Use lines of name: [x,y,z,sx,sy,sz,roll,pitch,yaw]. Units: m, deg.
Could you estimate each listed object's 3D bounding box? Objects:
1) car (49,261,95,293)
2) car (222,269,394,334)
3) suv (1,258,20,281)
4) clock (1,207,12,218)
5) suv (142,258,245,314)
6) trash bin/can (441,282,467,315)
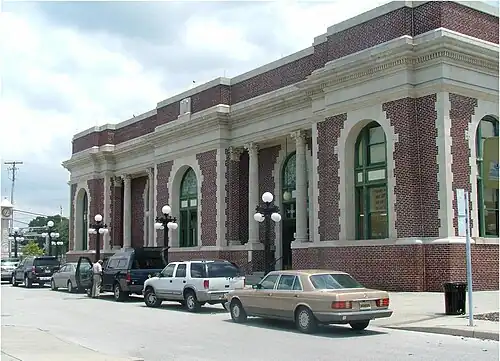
car: [-10.303,5.553,32.541,1.721,1.377,3.935,4,-7,-36]
car: [1.631,3.756,18.606,2.134,1.365,4.611,8,-9,-40]
suv: [-18.190,6.723,42.635,1.516,1.365,3.246,2,-6,-25]
clock: [-7.531,0.963,17.236,0.055,0.403,0.416,-12,-8,36]
suv: [-2.312,4.334,23.809,3.740,1.630,2.075,-2,-7,45]
trash bin/can: [7.077,4.109,19.704,1.098,1.198,0.953,3,-12,-23]
